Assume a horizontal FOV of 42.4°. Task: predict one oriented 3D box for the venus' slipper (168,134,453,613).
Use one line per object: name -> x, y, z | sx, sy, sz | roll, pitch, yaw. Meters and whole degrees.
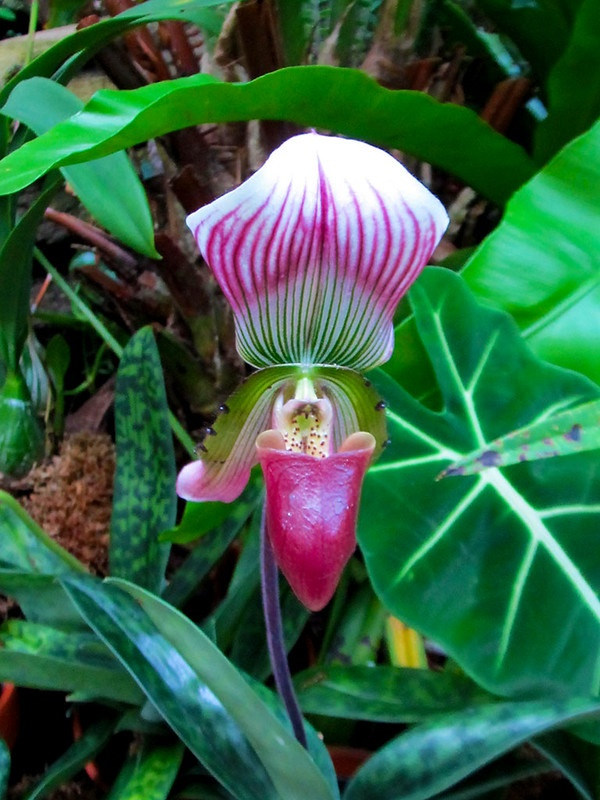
venus' slipper -> -0.006, -0.010, 0.706 | 0.244, 0.387, 0.302 | 9, 47, -10
